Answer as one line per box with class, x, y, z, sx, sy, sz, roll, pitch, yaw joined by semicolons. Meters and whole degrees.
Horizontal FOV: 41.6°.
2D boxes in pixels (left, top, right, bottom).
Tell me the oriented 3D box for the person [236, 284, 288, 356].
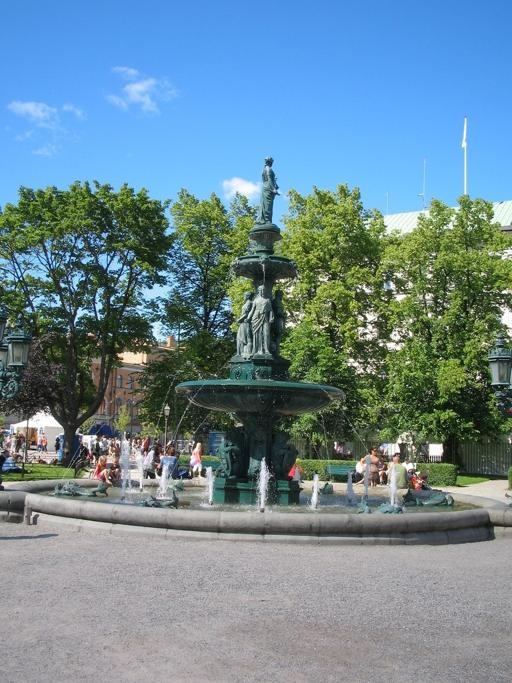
person;0.134;-0.382;14.074;0.962;1.657;1.018;4;-9;-10
